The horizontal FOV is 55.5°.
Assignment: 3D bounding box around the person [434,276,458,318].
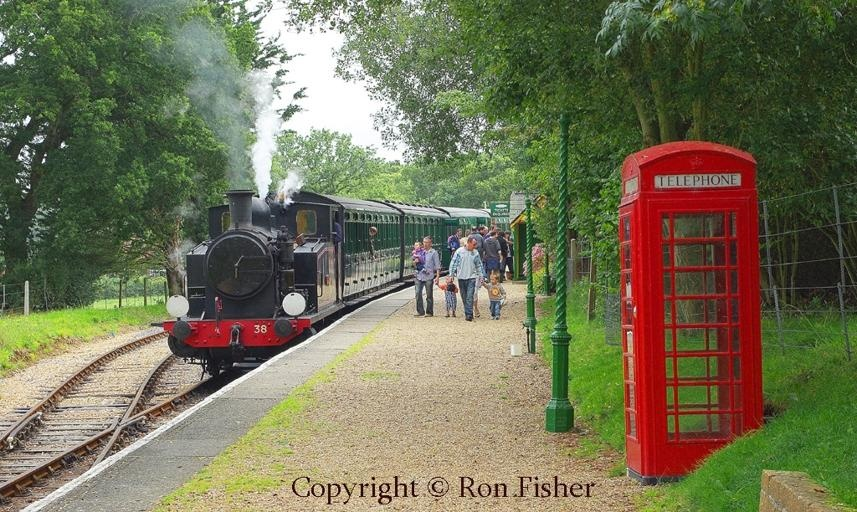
[{"bbox_3d":[0.563,1.353,26.737,0.734,1.486,0.849,-20,-27,40],"label":"person"}]
